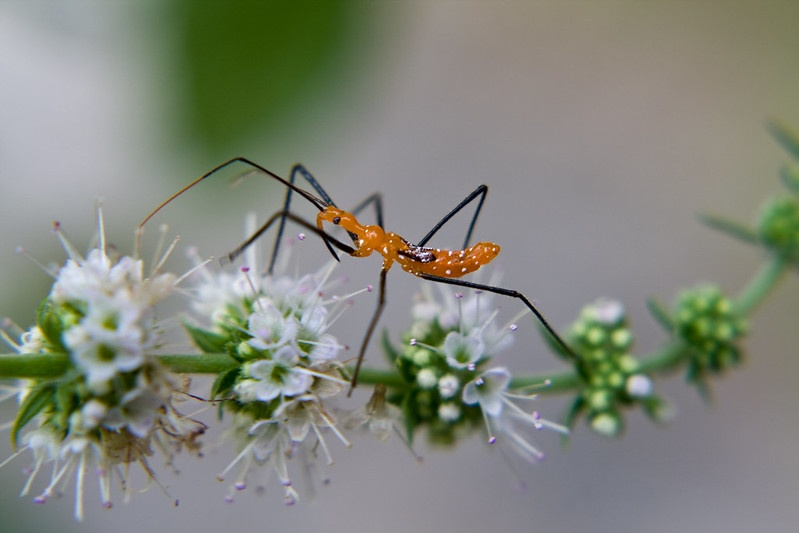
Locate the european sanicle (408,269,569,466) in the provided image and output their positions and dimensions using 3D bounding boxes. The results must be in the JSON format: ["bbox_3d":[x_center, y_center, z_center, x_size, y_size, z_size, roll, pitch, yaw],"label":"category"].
[{"bbox_3d":[0.376,0.492,3.764,0.743,0.746,0.317,44,-25,-6],"label":"european sanicle"}]
